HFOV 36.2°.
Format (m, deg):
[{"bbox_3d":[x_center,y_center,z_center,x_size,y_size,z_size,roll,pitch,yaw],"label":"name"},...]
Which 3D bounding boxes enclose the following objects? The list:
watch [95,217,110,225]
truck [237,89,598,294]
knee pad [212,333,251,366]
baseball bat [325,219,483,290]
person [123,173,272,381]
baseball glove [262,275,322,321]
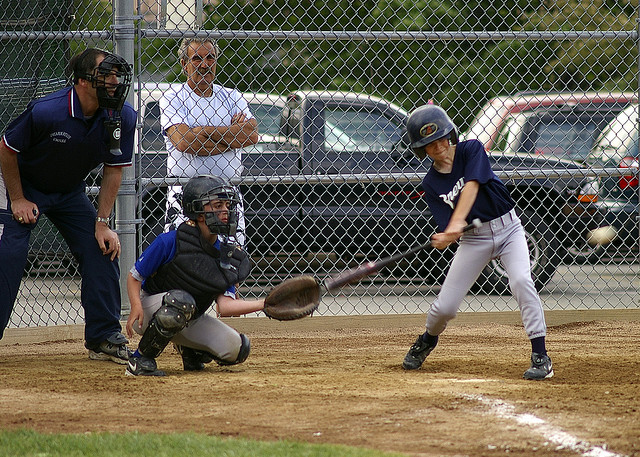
[{"bbox_3d":[-1.609,-0.061,7.293,0.051,0.050,0.049,8,-6,42],"label":"watch"},{"bbox_3d":[1.114,-0.369,9.292,3.606,1.621,1.733,-1,2,-10],"label":"truck"},{"bbox_3d":[-0.645,0.867,7.096,0.254,0.155,0.202,-5,-13,16],"label":"knee pad"},{"bbox_3d":[0.736,0.193,8.860,1.352,0.144,0.160,-24,46,-2],"label":"baseball bat"},{"bbox_3d":[-0.952,0.345,7.008,0.933,1.446,0.690,-2,8,-10],"label":"person"},{"bbox_3d":[-0.198,0.471,6.875,0.414,0.311,0.221,0,8,0],"label":"baseball glove"}]
